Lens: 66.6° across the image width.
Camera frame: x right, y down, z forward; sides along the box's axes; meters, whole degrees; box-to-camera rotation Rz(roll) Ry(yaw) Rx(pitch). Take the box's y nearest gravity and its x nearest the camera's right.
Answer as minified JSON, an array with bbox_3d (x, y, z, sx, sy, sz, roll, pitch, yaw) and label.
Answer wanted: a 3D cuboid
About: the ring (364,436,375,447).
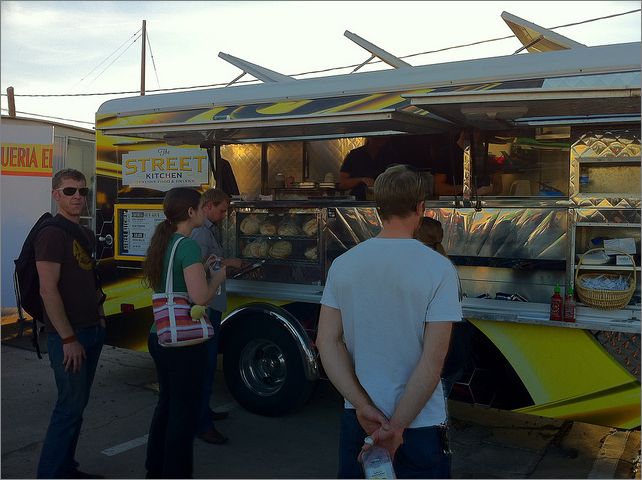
[{"bbox_3d":[0.196,0.832,2.020,0.052,0.036,0.019,-7,-4,43],"label":"ring"}]

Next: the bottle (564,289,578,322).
[{"bbox_3d":[1.894,0.488,3.715,0.088,0.219,0.228,3,9,28],"label":"bottle"}]

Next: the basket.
[{"bbox_3d":[2.190,0.285,3.769,0.408,0.436,0.383,4,9,31],"label":"basket"}]

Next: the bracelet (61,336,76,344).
[{"bbox_3d":[-1.641,0.646,3.169,0.057,0.022,0.057,1,-1,-3],"label":"bracelet"}]

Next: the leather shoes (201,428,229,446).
[{"bbox_3d":[-0.921,1.692,4.244,0.225,0.087,0.115,0,-5,25],"label":"leather shoes"}]

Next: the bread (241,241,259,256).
[{"bbox_3d":[-0.743,0.102,5.138,0.068,0.158,0.134,21,-14,-12],"label":"bread"}]

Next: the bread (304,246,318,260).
[{"bbox_3d":[-0.094,0.136,4.858,0.115,0.117,0.034,-10,-13,32],"label":"bread"}]

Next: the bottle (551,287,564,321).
[{"bbox_3d":[1.815,0.479,3.758,0.087,0.228,0.239,2,9,23],"label":"bottle"}]

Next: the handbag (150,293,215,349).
[{"bbox_3d":[-0.862,0.499,3.078,0.378,0.327,0.135,3,-20,-39],"label":"handbag"}]

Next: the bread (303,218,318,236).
[{"bbox_3d":[-0.100,-0.134,4.860,0.162,0.109,0.155,-3,10,-24],"label":"bread"}]

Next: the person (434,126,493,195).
[{"bbox_3d":[1.389,-0.728,4.823,0.698,0.707,0.468,0,5,24],"label":"person"}]

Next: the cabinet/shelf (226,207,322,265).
[{"bbox_3d":[-0.365,-0.087,5.166,1.038,0.526,0.331,1,9,29],"label":"cabinet/shelf"}]
